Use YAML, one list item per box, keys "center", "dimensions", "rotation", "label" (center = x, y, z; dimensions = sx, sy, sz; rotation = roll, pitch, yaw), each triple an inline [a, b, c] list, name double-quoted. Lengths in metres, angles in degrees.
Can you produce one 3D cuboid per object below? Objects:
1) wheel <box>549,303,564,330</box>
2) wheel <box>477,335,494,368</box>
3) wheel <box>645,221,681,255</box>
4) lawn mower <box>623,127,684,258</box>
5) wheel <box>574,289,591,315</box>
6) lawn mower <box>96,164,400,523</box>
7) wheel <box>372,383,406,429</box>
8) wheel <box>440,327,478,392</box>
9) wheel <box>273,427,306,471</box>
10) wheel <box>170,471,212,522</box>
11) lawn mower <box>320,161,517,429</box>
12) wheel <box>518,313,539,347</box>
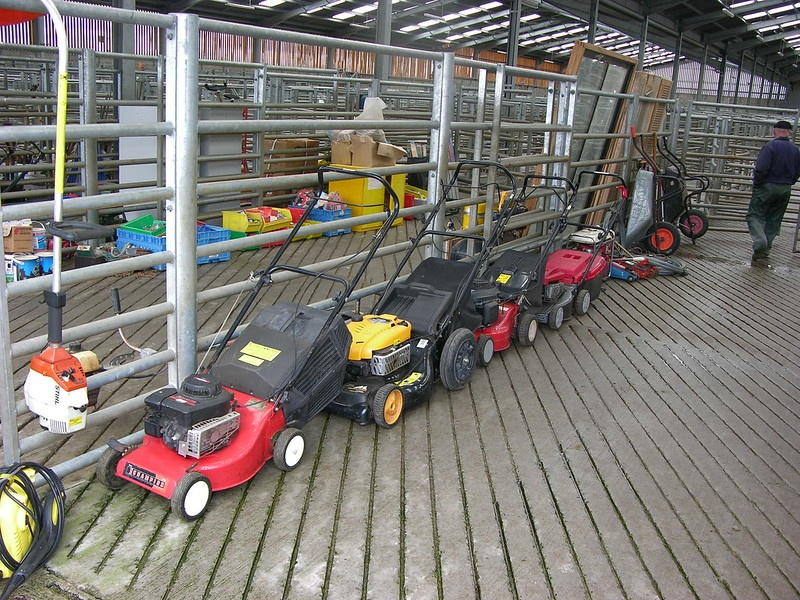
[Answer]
- center: [1.303, 0.128, 4.574]
  dimensions: [0.056, 0.164, 0.167]
  rotation: [6, 33, 28]
  label: "wheel"
- center: [0.589, 0.346, 3.797]
  dimensions: [0.081, 0.223, 0.236]
  rotation: [5, 2, 37]
  label: "wheel"
- center: [3.389, -0.810, 7.082]
  dimensions: [0.532, 0.505, 0.204]
  rotation: [0, 1, 18]
  label: "wheel"
- center: [3.135, -1.351, 7.002]
  dimensions: [0.936, 1.380, 0.943]
  rotation: [8, 14, 24]
  label: "lawn mower"
- center: [1.640, 0.007, 4.928]
  dimensions: [0.081, 0.221, 0.233]
  rotation: [7, 7, 33]
  label: "wheel"
- center: [-0.680, 0.148, 2.679]
  dimensions: [0.576, 1.067, 1.536]
  rotation: [16, 26, 27]
  label: "lawn mower"
- center: [-0.068, 0.578, 3.011]
  dimensions: [0.068, 0.192, 0.185]
  rotation: [9, 65, 30]
  label: "wheel"
- center: [0.374, 0.379, 3.481]
  dimensions: [0.120, 0.399, 0.342]
  rotation: [18, 25, 35]
  label: "wheel"
- center: [-0.527, 0.701, 2.581]
  dimensions: [0.060, 0.163, 0.160]
  rotation: [-10, 41, 23]
  label: "wheel"
- center: [-0.864, 0.803, 2.248]
  dimensions: [0.059, 0.163, 0.168]
  rotation: [4, 25, 28]
  label: "wheel"
- center: [-0.023, -0.203, 3.774]
  dimensions: [0.861, 1.349, 2.065]
  rotation: [22, 38, 29]
  label: "lawn mower"
- center: [0.983, 0.228, 4.217]
  dimensions: [0.093, 0.250, 0.263]
  rotation: [-4, -4, 28]
  label: "wheel"
